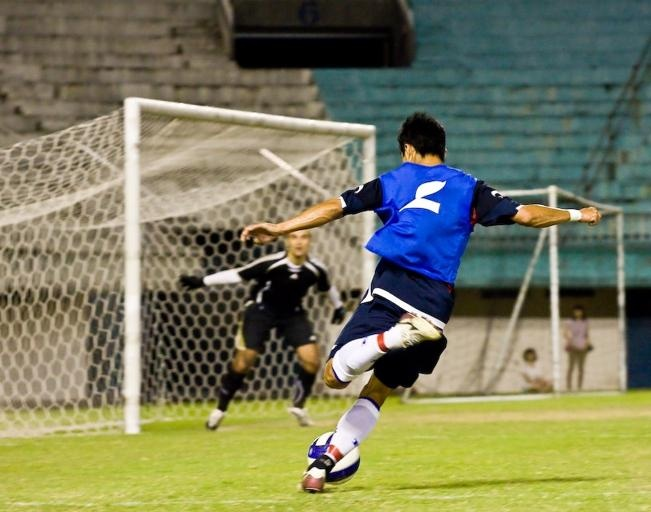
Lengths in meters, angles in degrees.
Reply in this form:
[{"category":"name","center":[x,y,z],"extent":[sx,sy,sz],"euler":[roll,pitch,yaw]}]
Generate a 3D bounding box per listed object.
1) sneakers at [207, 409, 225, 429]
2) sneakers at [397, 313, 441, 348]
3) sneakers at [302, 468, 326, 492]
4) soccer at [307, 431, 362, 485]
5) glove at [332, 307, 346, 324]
[{"category":"sneakers","center":[-1.009,1.486,12.736],"extent":[0.120,0.143,0.205],"euler":[32,23,-17]},{"category":"sneakers","center":[0.712,0.573,10.499],"extent":[0.306,0.191,0.117],"euler":[19,8,-5]},{"category":"sneakers","center":[-0.085,1.718,10.605],"extent":[0.221,0.164,0.158],"euler":[5,-4,28]},{"category":"soccer","center":[0.109,1.554,10.849],"extent":[0.437,0.399,0.411],"euler":[-4,14,3]},{"category":"glove","center":[0.124,0.576,13.413],"extent":[0.123,0.171,0.184],"euler":[2,15,-7]}]
